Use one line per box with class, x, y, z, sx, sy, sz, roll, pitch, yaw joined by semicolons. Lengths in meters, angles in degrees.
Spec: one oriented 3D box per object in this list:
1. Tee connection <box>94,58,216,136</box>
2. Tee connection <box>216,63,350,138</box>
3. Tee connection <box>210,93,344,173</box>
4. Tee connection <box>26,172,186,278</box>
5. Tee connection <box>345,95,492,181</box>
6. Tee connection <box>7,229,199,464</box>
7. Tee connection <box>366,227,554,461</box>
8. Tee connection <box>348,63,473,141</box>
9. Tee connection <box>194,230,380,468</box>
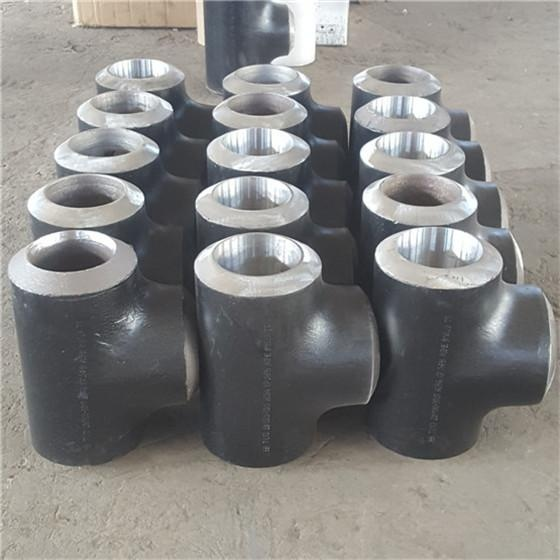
Tee connection;-0.458;-0.671;3.007;0.444;0.269;0.251;10;41;3
Tee connection;0.034;-0.685;3.023;0.441;0.420;0.263;4;43;4
Tee connection;0.006;-0.497;2.708;0.411;0.311;0.243;7;40;7
Tee connection;-0.530;-0.086;2.119;0.287;0.193;0.278;10;52;-25
Tee connection;0.476;-0.598;2.680;0.385;0.363;0.296;5;76;18
Tee connection;-0.409;0.065;2.133;0.603;0.726;0.420;-3;32;-10
Tee connection;0.385;0.107;2.108;0.557;0.609;0.444;-1;32;7
Tee connection;0.509;-0.638;3.020;0.411;0.395;0.317;-2;31;2
Tee connection;0.021;0.179;2.066;0.482;0.517;0.381;3;28;3
